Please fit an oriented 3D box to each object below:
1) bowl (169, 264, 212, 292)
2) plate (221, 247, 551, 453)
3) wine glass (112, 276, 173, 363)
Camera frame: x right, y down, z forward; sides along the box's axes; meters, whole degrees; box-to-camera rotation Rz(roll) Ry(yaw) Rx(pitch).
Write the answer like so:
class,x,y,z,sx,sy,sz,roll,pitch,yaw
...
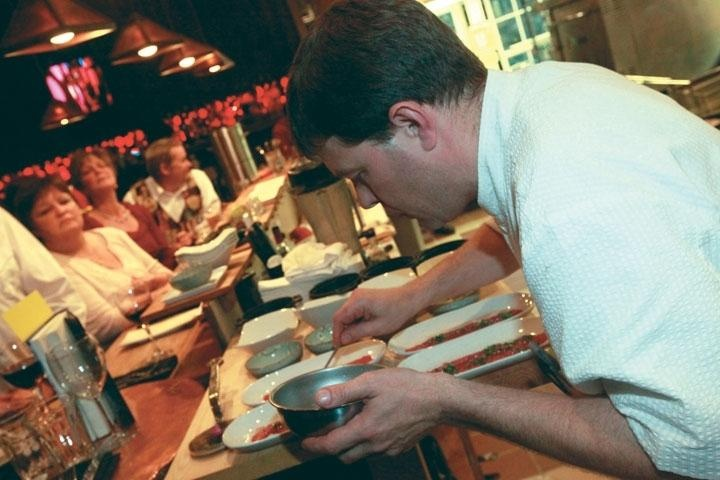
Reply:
class,x,y,z,sx,sy,sz,roll,pitch,yaw
bowl,-0.714,0.149,2.470,0.139,0.073,0.157,-4,30,22
plate,0.272,0.315,2.197,0.626,0.173,0.501,-34,29,6
wine glass,-1.011,0.393,2.901,0.301,0.111,0.452,-1,29,0
